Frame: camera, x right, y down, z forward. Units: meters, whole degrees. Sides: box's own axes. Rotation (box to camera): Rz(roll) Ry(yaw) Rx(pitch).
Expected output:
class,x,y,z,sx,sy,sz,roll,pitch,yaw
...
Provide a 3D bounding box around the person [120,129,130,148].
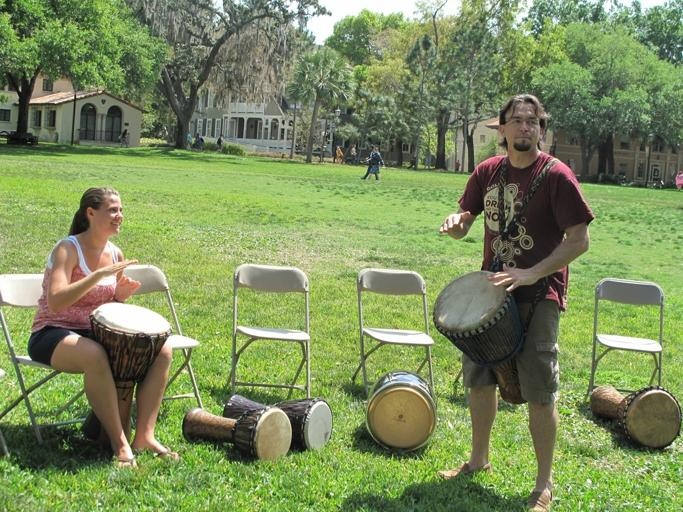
class,x,y,z,sx,sy,sz,roll,pitch,yaw
person,-15.244,-8.421,49.522,0.464,1.299,2.837,2,6,-17

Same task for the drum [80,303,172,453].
class,x,y,z,sx,sy,sz,roll,pitch,yaw
drum,-1.778,1.008,5.741,0.666,1.104,0.746,16,7,-42

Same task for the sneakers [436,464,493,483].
class,x,y,z,sx,sy,sz,roll,pitch,yaw
sneakers,1.030,1.789,5.844,0.397,0.136,0.168,0,-10,-8

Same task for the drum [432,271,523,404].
class,x,y,z,sx,sy,sz,roll,pitch,yaw
drum,1.110,0.650,5.653,0.754,1.042,0.471,6,5,17

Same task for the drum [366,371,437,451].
class,x,y,z,sx,sy,sz,roll,pitch,yaw
drum,0.550,1.427,6.252,0.554,0.677,0.668,4,9,8

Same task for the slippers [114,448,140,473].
class,x,y,z,sx,sy,sz,roll,pitch,yaw
slippers,-1.691,1.602,5.517,0.177,0.106,0.184,3,5,-22

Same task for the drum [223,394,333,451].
class,x,y,z,sx,sy,sz,roll,pitch,yaw
drum,-0.523,1.423,6.267,0.753,0.490,0.466,6,12,17

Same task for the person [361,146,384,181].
class,x,y,z,sx,sy,sz,roll,pitch,yaw
person,1.512,-4.575,34.239,0.917,1.980,0.686,-5,34,-9
